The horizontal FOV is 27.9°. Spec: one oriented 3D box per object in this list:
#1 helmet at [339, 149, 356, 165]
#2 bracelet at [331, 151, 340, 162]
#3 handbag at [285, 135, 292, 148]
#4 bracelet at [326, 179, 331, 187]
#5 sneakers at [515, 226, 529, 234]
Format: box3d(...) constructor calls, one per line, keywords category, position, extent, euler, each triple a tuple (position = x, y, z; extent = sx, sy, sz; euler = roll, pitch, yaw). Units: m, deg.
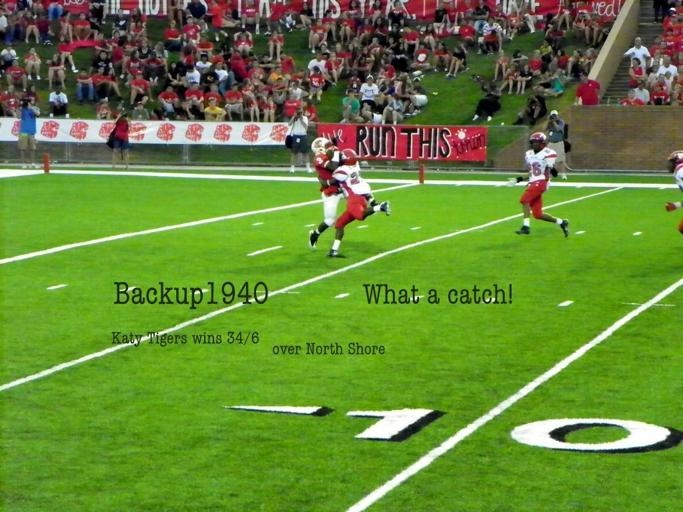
box3d(category="helmet", position=(0.134, -1.609, 22.844), extent=(0.299, 0.203, 0.222), euler=(12, -8, -11))
box3d(category="bracelet", position=(-0.086, -1.604, 22.667), extent=(0.154, 0.171, 0.127), euler=(0, 9, 2))
box3d(category="handbag", position=(-1.383, -2.995, 36.736), extent=(0.179, 0.305, 0.239), euler=(-1, 9, -6))
box3d(category="bracelet", position=(-0.203, -1.182, 22.794), extent=(0.019, 0.071, 0.082), euler=(-7, 12, 43))
box3d(category="sneakers", position=(3.261, -0.416, 24.676), extent=(0.305, 0.133, 0.104), euler=(2, 8, 27))
